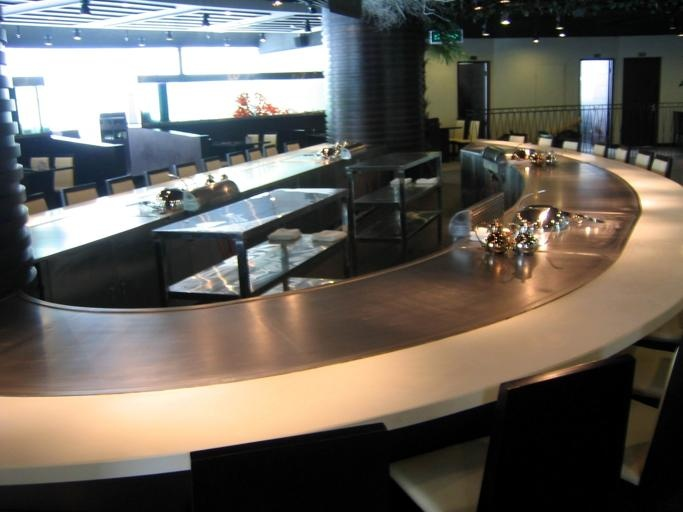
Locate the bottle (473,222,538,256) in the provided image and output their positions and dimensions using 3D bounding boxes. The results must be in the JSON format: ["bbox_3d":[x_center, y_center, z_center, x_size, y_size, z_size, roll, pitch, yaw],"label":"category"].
[{"bbox_3d":[0.813,-0.082,2.648,0.254,0.091,0.186,4,11,30],"label":"bottle"}]

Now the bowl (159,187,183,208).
[{"bbox_3d":[-1.380,-0.480,4.358,0.175,0.140,0.171,-6,8,1],"label":"bowl"}]

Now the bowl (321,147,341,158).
[{"bbox_3d":[-0.139,-1.394,7.180,0.280,0.069,0.250,-2,16,0],"label":"bowl"}]
